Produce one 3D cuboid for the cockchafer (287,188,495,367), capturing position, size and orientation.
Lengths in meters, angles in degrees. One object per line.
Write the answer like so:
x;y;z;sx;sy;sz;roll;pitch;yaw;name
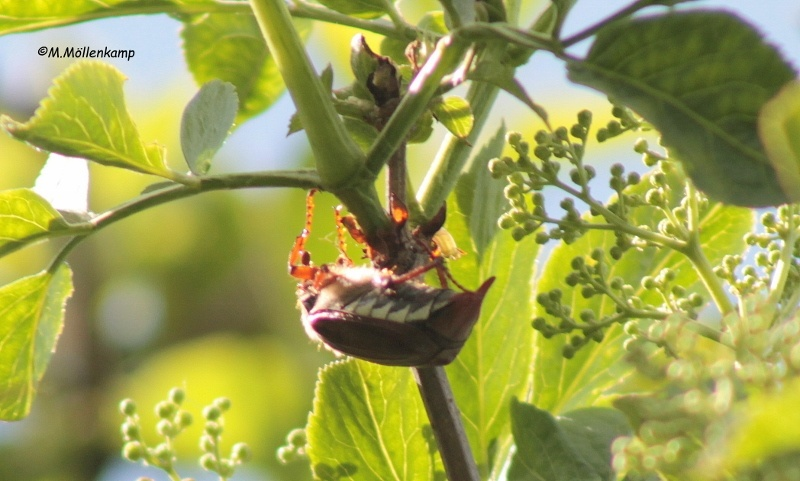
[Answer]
-0.051;0.109;2.601;0.516;0.339;0.333;1;-31;11;cockchafer
